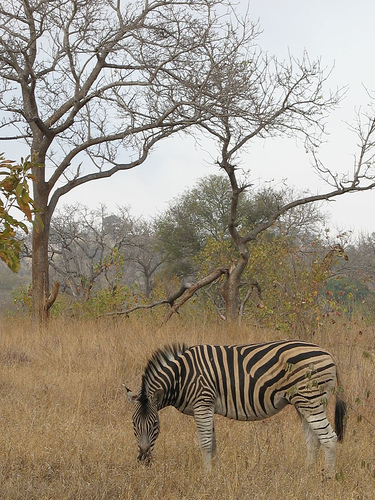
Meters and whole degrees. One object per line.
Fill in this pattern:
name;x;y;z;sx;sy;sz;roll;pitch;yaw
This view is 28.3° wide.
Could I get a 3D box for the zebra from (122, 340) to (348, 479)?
zebra;0.540;1.616;7.856;2.175;1.354;1.949;-3;-5;2
